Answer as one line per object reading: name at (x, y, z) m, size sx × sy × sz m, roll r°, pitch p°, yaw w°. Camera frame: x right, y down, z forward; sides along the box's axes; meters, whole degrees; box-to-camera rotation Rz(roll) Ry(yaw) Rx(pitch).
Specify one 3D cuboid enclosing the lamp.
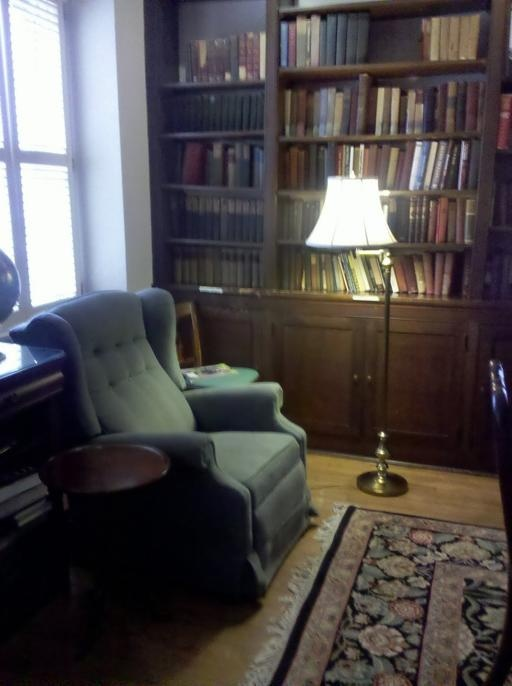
lamp at (0.477, -0.054, 2.422) m, size 0.409 × 1.453 × 0.698 m, roll 3°, pitch 7°, yaw 22°

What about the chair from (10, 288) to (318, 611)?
chair at (-0.239, 0.273, 2.062) m, size 0.878 × 1.142 × 0.822 m, roll 5°, pitch 11°, yaw 18°

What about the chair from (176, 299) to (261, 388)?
chair at (-0.243, 0.037, 2.679) m, size 0.348 × 0.367 × 0.411 m, roll 2°, pitch 10°, yaw 8°
